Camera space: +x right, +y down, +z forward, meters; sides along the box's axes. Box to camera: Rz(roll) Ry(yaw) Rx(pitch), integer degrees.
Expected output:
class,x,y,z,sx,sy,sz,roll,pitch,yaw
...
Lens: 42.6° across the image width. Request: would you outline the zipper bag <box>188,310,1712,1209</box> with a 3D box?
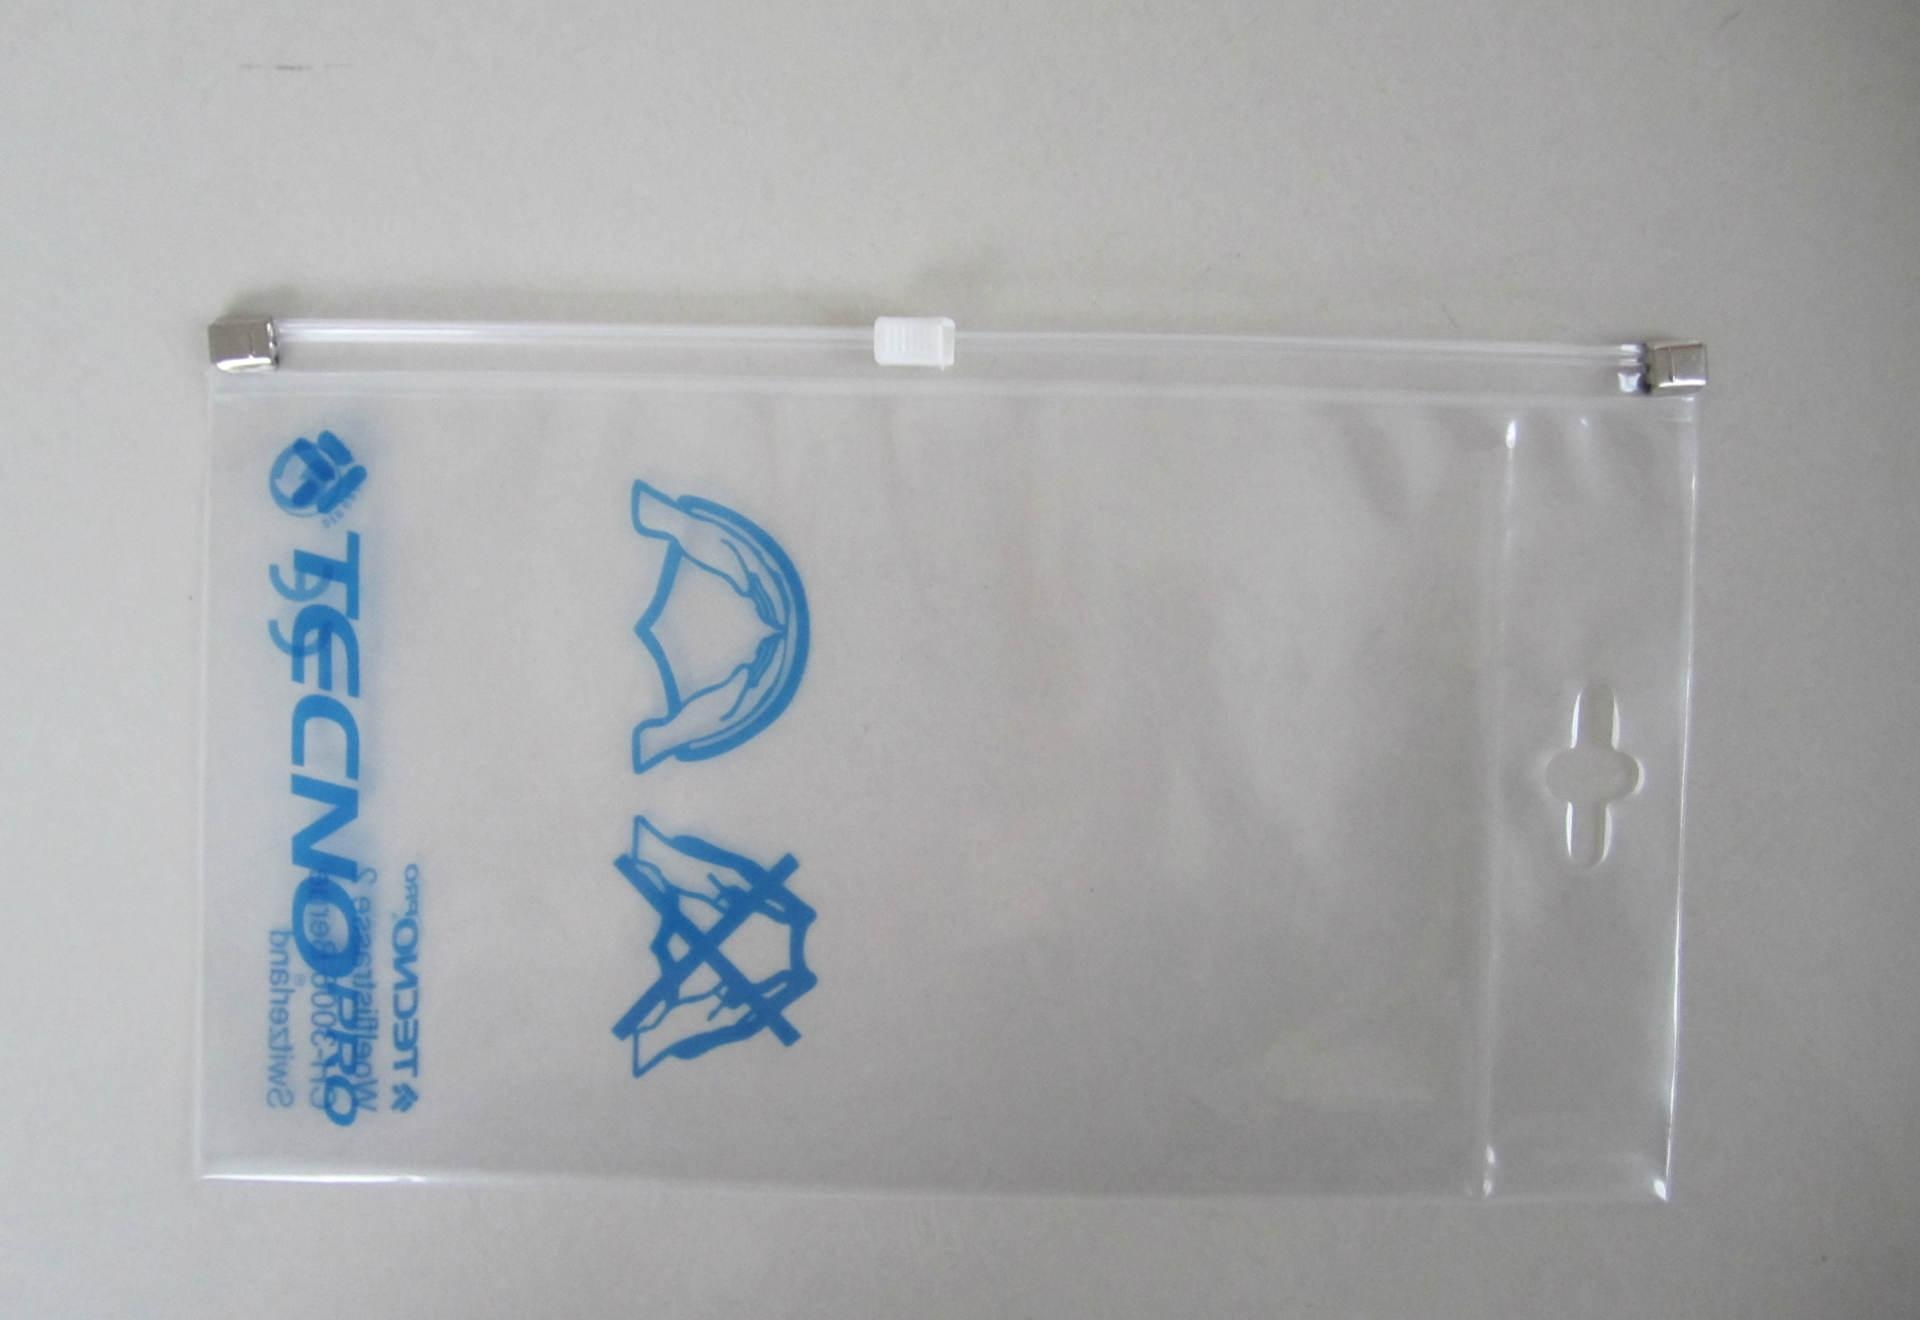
class,x,y,z,sx,sy,sz,roll,pitch,yaw
zipper bag,-0.032,0.126,2.702,1.594,0.065,1.099,1,-65,2
